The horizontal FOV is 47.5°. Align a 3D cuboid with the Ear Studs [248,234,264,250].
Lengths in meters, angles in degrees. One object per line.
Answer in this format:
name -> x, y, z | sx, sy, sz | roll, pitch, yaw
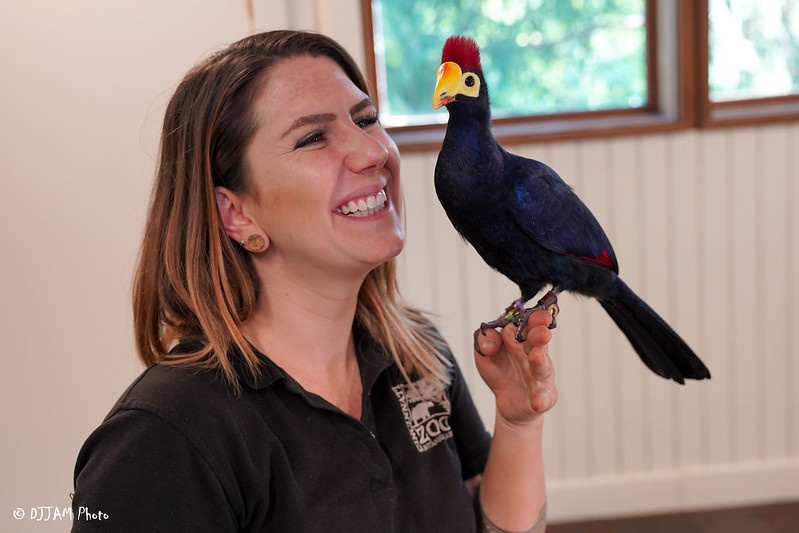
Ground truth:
Ear Studs -> -0.437, -0.075, 2.733 | 0.042, 0.048, 0.013 | -5, -1, 6
